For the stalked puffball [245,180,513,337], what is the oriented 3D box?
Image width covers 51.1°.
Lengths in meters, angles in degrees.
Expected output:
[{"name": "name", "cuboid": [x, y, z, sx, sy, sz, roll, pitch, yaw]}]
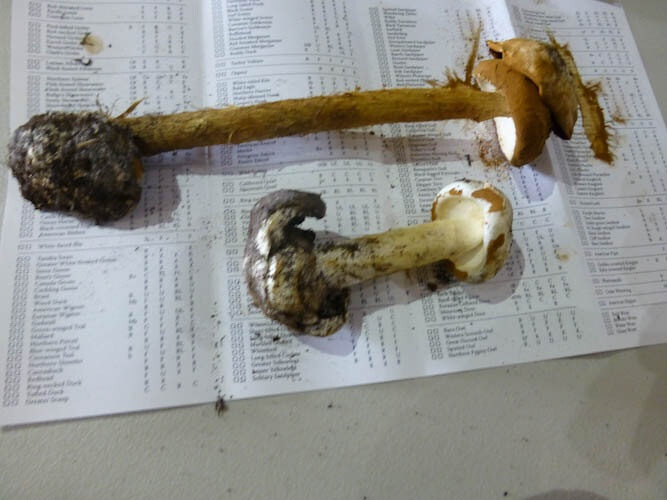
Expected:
[{"name": "stalked puffball", "cuboid": [0.143, 0.002, 2.176, 0.742, 0.326, 0.489, -7, 59, 4]}]
